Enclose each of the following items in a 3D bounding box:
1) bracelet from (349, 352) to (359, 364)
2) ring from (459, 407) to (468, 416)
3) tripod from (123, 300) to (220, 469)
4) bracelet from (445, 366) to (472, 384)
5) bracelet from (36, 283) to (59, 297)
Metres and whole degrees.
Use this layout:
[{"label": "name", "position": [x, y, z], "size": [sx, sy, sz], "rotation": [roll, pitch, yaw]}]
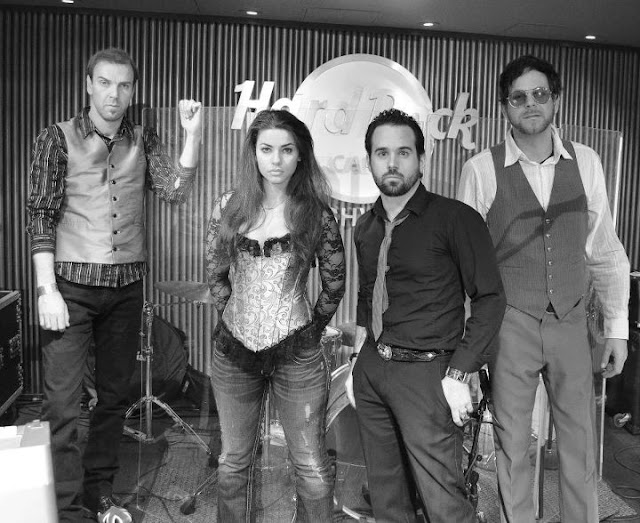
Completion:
[{"label": "bracelet", "position": [0.138, 0.403, 2.618], "size": [0.053, 0.046, 0.058], "rotation": [0, 11, -7]}, {"label": "ring", "position": [0.489, 0.516, 2.140], "size": [0.021, 0.038, 0.038], "rotation": [-1, -9, 7]}, {"label": "tripod", "position": [-0.835, 0.558, 3.102], "size": [0.587, 0.783, 0.624], "rotation": [-1, -2, 5]}, {"label": "bracelet", "position": [0.473, 0.396, 2.151], "size": [0.069, 0.053, 0.075], "rotation": [9, -9, 19]}, {"label": "bracelet", "position": [-1.175, 0.117, 2.723], "size": [0.058, 0.046, 0.064], "rotation": [-3, 7, 6]}]
